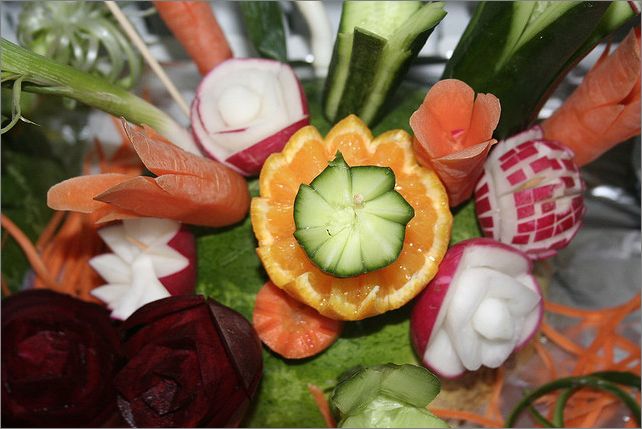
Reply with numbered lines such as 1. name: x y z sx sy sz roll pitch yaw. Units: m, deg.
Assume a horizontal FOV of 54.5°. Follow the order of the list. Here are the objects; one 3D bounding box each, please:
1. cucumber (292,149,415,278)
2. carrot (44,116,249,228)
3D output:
1. cucumber: 0.044 0.007 0.856 0.162 0.016 0.151 4 81 3
2. carrot: -0.278 -0.071 0.941 0.169 0.354 0.150 12 89 32
